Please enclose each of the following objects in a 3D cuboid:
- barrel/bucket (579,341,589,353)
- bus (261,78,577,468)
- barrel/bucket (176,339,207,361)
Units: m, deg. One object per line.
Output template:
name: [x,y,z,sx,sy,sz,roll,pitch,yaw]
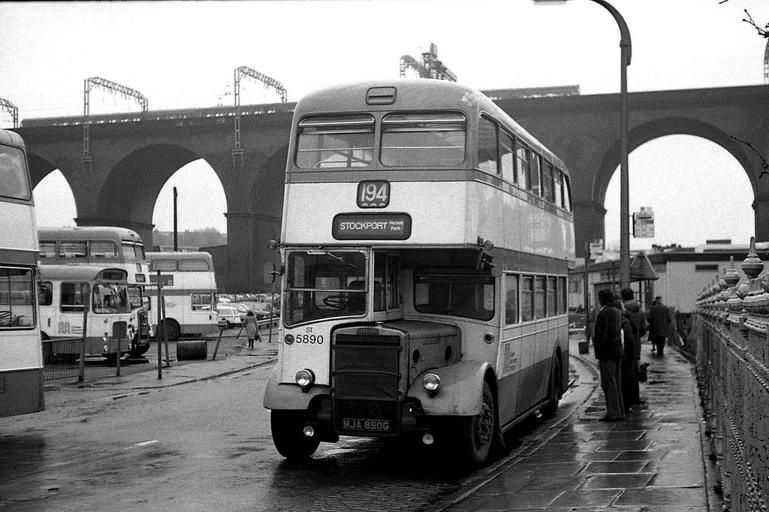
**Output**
barrel/bucket: [8.279,3.769,33.638,0.433,0.492,0.448,0,-3,0]
bus: [1.116,0.255,13.785,2.590,6.172,6.017,-4,-4,45]
barrel/bucket: [-7.414,3.417,31.238,1.248,0.848,0.823,-1,-45,-16]
